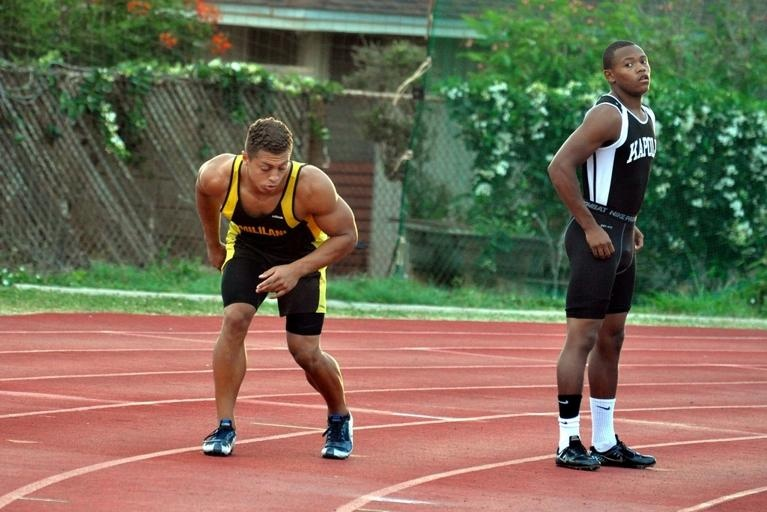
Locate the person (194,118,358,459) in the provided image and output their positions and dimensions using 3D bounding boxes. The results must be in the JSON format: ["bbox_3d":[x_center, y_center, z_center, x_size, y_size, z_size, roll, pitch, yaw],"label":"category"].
[{"bbox_3d":[-0.739,0.192,6.226,1.144,2.260,0.740,2,8,-6],"label":"person"}]

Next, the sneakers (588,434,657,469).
[{"bbox_3d":[1.606,1.340,6.214,0.503,0.235,0.175,1,1,10],"label":"sneakers"}]

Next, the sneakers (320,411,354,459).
[{"bbox_3d":[-0.317,1.221,6.157,0.133,0.163,0.360,0,29,5],"label":"sneakers"}]

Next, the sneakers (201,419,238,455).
[{"bbox_3d":[-1.093,1.221,6.054,0.122,0.140,0.321,6,3,7],"label":"sneakers"}]

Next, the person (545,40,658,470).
[{"bbox_3d":[1.489,-0.031,6.075,0.711,2.865,0.604,-2,9,-28],"label":"person"}]

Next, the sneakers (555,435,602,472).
[{"bbox_3d":[1.278,1.331,6.042,0.173,0.191,0.409,12,-12,-21],"label":"sneakers"}]
